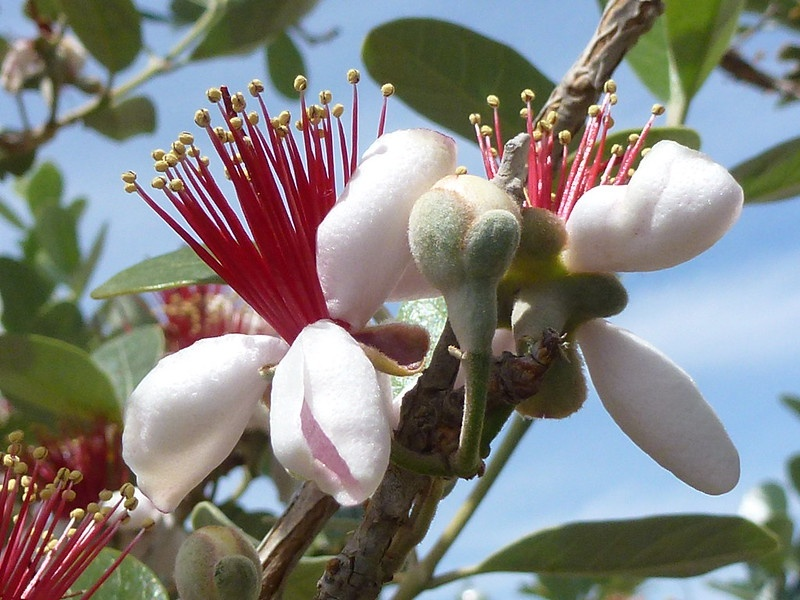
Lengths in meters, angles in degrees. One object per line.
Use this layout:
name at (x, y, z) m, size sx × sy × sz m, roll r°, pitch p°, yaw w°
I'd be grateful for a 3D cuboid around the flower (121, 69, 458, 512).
flower at (-0.213, 0.077, 1.702) m, size 0.506 × 0.642 × 0.502 m, roll -25°, pitch 75°, yaw -23°
